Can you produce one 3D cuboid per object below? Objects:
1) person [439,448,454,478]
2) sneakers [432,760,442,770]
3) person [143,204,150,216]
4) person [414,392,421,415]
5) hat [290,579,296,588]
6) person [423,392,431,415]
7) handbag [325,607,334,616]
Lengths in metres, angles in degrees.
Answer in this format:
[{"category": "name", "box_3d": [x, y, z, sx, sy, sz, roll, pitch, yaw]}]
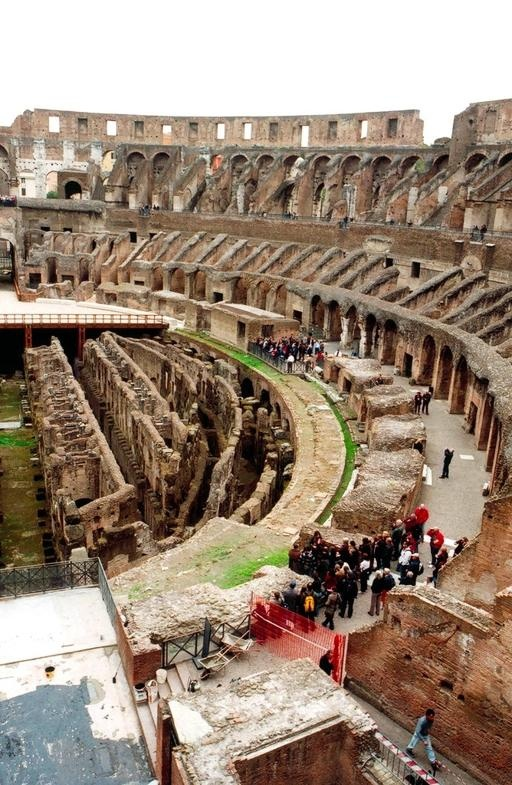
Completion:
[{"category": "person", "box_3d": [4.991, 1.773, 15.473, 0.216, 0.766, 1.020, 6, 11, 19]}, {"category": "sneakers", "box_3d": [1.893, 3.899, 6.193, 0.066, 0.085, 0.126, -5, -36, -1]}, {"category": "person", "box_3d": [-9.007, -14.993, 48.472, 0.571, 0.760, 1.204, 1, 24, 0]}, {"category": "person", "box_3d": [5.503, 0.354, 20.105, 0.223, 0.745, 0.676, 6, 10, 15]}, {"category": "hat", "box_3d": [0.517, 2.599, 7.999, 0.106, 0.112, 0.111, 3, -7, -6]}, {"category": "person", "box_3d": [5.854, 0.334, 20.372, 0.243, 0.750, 0.805, 5, 10, 14]}, {"category": "handbag", "box_3d": [1.044, 3.092, 8.338, 0.085, 0.088, 0.083, 1, -2, -8]}]
